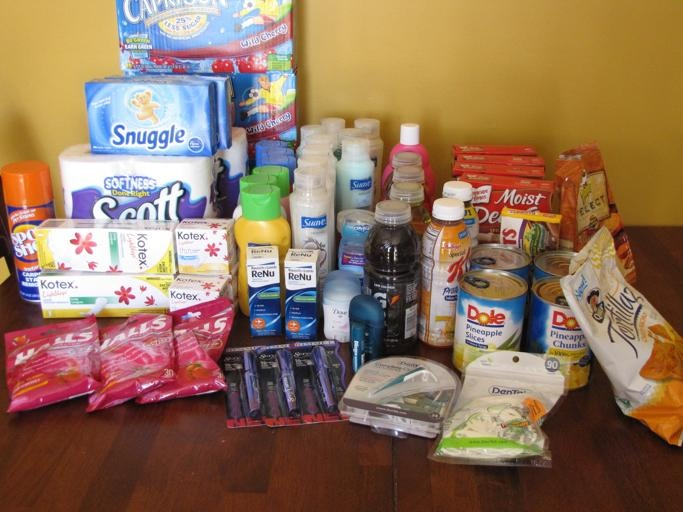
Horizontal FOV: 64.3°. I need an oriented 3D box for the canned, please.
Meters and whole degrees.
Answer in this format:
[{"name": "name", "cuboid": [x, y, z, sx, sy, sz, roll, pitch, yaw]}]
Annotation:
[{"name": "canned", "cuboid": [0.347, 0.115, 1.050, 0.177, 0.257, 0.181, 7, 20, 12]}]
